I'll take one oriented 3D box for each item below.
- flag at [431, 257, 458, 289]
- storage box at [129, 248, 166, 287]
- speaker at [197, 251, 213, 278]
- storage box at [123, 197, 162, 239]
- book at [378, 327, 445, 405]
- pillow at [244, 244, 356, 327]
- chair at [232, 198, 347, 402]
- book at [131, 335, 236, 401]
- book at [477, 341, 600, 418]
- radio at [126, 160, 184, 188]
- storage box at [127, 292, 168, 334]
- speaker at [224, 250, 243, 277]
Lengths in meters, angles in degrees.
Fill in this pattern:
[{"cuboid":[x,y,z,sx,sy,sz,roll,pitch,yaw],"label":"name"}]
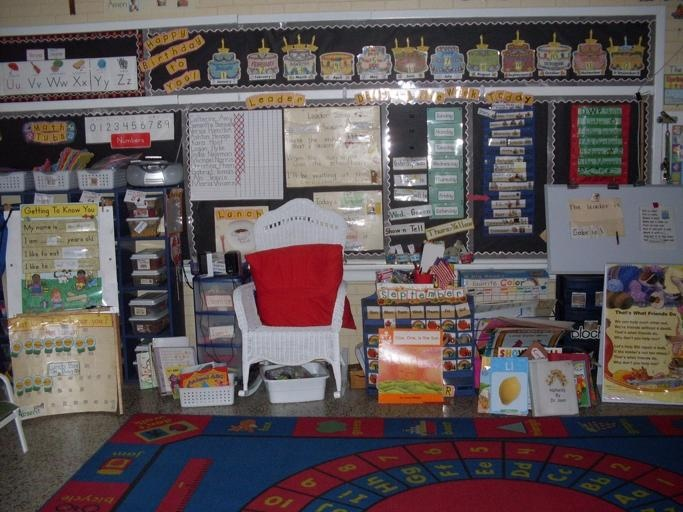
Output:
[{"cuboid":[0.906,0.164,5.960,0.200,0.273,0.085,-27,-22,7],"label":"flag"},{"cuboid":[-1.800,0.105,6.332,0.279,0.350,0.500,-2,7,-5],"label":"storage box"},{"cuboid":[-1.233,0.077,6.260,0.185,0.243,0.167,1,-4,-5],"label":"speaker"},{"cuboid":[-1.816,-0.341,6.424,0.430,0.441,0.340,0,1,-1],"label":"storage box"},{"cuboid":[0.590,0.946,5.692,0.585,0.663,0.031,0,-11,0],"label":"book"},{"cuboid":[-0.384,0.258,6.198,0.729,0.747,0.248,-4,-5,-2],"label":"pillow"},{"cuboid":[-0.422,0.354,6.063,1.039,1.703,0.967,-3,6,-1],"label":"chair"},{"cuboid":[-1.473,0.977,6.108,0.727,0.572,0.244,-6,-24,-7],"label":"book"},{"cuboid":[1.427,1.030,5.687,0.810,0.557,0.196,0,-8,2],"label":"book"},{"cuboid":[-1.759,-0.771,6.309,0.330,0.174,0.323,0,9,-6],"label":"radio"},{"cuboid":[-1.794,0.541,6.304,0.300,0.363,0.520,-1,4,-2],"label":"storage box"},{"cuboid":[-0.974,0.056,6.156,0.160,0.267,0.311,0,11,-5],"label":"speaker"}]
